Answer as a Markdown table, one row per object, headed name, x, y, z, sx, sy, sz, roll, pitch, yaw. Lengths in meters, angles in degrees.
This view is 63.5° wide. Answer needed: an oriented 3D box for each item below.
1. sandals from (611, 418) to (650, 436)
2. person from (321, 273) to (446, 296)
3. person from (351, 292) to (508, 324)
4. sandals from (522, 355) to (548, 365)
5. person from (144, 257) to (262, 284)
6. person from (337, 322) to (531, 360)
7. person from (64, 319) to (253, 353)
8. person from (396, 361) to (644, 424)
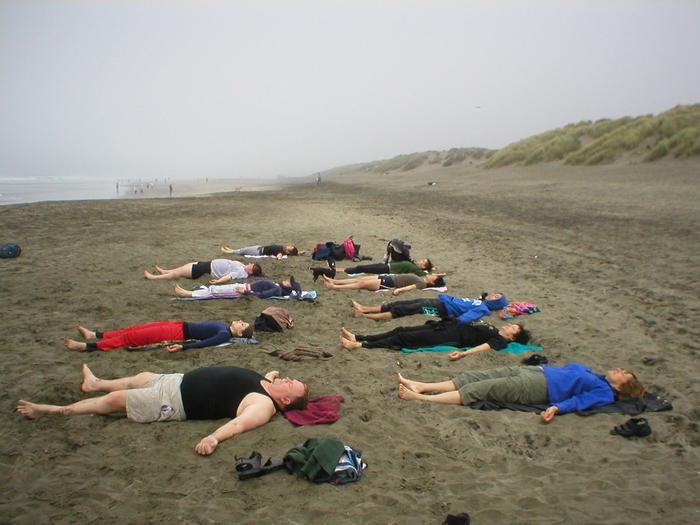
| name | x | y | z | sx | sy | sz | roll | pitch | yaw |
| --- | --- | --- | --- | --- | --- | --- | --- | --- | --- |
| sandals | 4.010 | 2.348 | 8.092 | 0.432 | 0.112 | 0.258 | -2 | 1 | 6 |
| person | 0.839 | 0.445 | 12.548 | 2.247 | 0.266 | 0.803 | -6 | 7 | -2 |
| person | 1.563 | 0.902 | 11.156 | 2.189 | 0.343 | 0.984 | -4 | 3 | -4 |
| sandals | 3.152 | 1.664 | 9.633 | 0.325 | 0.084 | 0.223 | -1 | 5 | -29 |
| person | -3.127 | 0.185 | 12.526 | 2.137 | 0.307 | 0.872 | -2 | 11 | -10 |
| person | 1.398 | 1.341 | 10.127 | 2.770 | 0.479 | 0.814 | 0 | 12 | 5 |
| person | -3.120 | 1.223 | 9.500 | 2.798 | 0.355 | 0.833 | 0 | 7 | -13 |
| person | 2.718 | 1.938 | 8.735 | 2.941 | 0.413 | 1.264 | -5 | 5 | -2 |
